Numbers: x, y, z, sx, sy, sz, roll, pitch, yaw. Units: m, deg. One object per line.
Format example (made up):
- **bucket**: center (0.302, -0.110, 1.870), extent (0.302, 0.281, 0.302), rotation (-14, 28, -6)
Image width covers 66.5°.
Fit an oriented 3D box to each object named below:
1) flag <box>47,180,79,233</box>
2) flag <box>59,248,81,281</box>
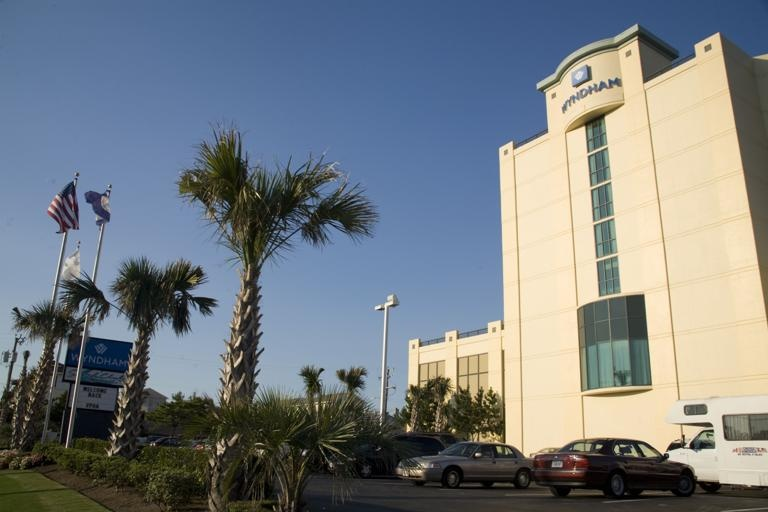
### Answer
- **flag**: center (-21.130, -3.132, 38.935), extent (1.737, 3.841, 1.100), rotation (13, -23, -28)
- **flag**: center (-21.114, 0.563, 39.670), extent (0.972, 2.247, 1.667), rotation (14, -24, -31)
